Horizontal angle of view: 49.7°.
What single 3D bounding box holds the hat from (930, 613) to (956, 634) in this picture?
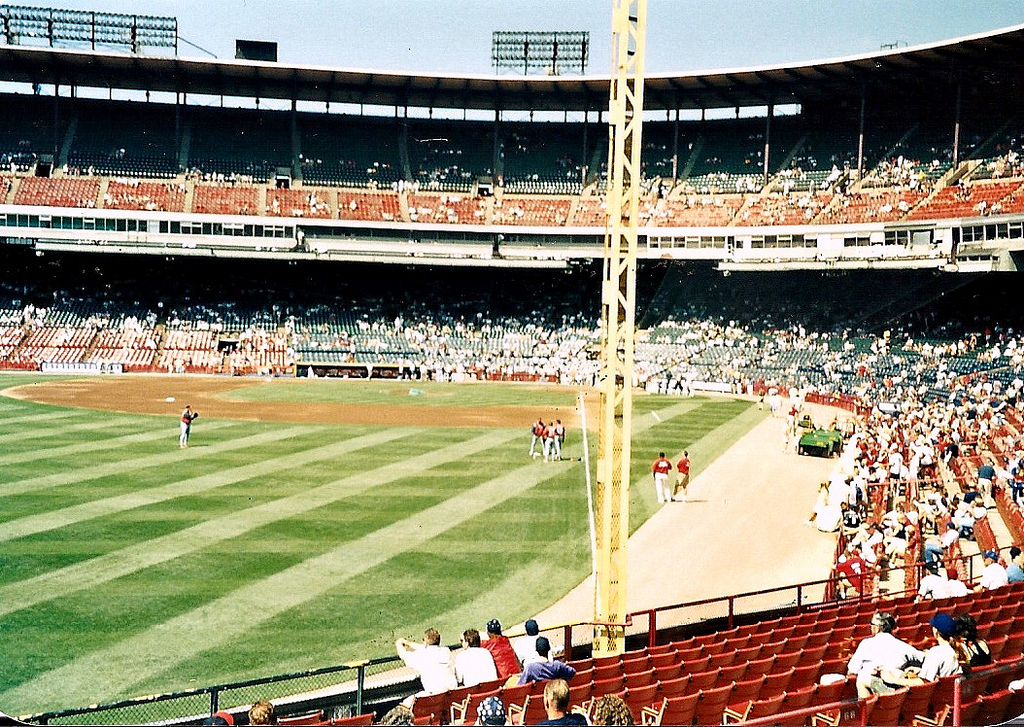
[{"bbox_3d":[8.486,5.137,21.702,0.402,0.412,0.306,1,3,13],"label":"hat"}]
